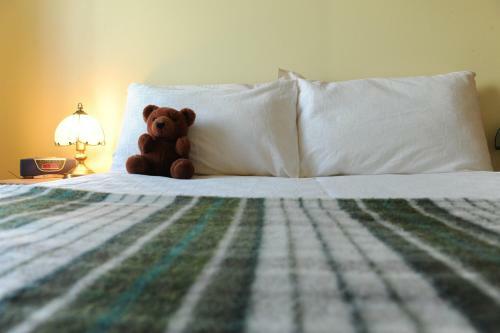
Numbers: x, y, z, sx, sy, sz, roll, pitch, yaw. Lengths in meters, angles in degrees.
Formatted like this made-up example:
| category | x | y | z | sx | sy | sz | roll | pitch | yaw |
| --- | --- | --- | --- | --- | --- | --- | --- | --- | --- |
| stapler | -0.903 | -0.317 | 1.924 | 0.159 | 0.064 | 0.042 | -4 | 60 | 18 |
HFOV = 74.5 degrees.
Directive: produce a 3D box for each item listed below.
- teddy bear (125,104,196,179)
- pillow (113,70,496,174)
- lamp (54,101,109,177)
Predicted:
| category | x | y | z | sx | sy | sz | roll | pitch | yaw |
| --- | --- | --- | --- | --- | --- | --- | --- | --- | --- |
| teddy bear | -0.398 | -0.118 | 1.576 | 0.319 | 0.345 | 0.270 | 4 | 6 | 7 |
| pillow | 0.325 | -0.210 | 1.641 | 1.702 | 0.417 | 0.486 | 5 | 8 | 11 |
| lamp | -1.114 | -0.165 | 2.161 | 0.320 | 0.462 | 0.305 | -2 | 3 | -43 |
